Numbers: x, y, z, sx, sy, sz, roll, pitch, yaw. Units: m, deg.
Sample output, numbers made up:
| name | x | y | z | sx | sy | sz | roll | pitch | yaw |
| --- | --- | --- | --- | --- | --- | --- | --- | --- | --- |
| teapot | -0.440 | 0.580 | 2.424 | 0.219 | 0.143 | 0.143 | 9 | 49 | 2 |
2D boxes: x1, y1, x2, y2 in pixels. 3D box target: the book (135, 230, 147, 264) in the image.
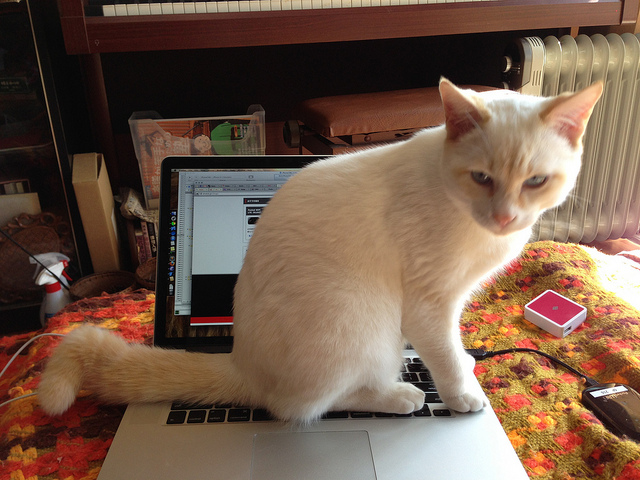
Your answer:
| name | x | y | z | sx | sy | sz | roll | pitch | yaw |
| --- | --- | --- | --- | --- | --- | --- | --- | --- | --- |
| book | -0.717 | 0.028 | 1.910 | 0.023 | 0.099 | 0.097 | -6 | -6 | -1 |

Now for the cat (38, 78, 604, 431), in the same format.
| name | x | y | z | sx | sy | sz | roll | pitch | yaw |
| --- | --- | --- | --- | --- | --- | --- | --- | --- | --- |
| cat | -0.007 | 0.011 | 0.921 | 0.966 | 0.617 | 0.342 | -1 | 30 | -5 |

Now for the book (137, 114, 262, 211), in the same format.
| name | x | y | z | sx | sy | sz | roll | pitch | yaw |
| --- | --- | --- | --- | --- | --- | --- | --- | --- | --- |
| book | -0.470 | -0.273 | 1.927 | 0.509 | 0.280 | 0.367 | -5 | 69 | -19 |

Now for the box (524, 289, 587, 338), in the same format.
| name | x | y | z | sx | sy | sz | roll | pitch | yaw |
| --- | --- | --- | --- | --- | --- | --- | --- | --- | --- |
| box | 0.590 | 0.178 | 1.197 | 0.114 | 0.045 | 0.115 | -31 | 42 | -28 |

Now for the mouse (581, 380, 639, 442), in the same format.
| name | x | y | z | sx | sy | sz | roll | pitch | yaw |
| --- | --- | --- | --- | --- | --- | --- | --- | --- | --- |
| mouse | 0.610 | 0.354 | 1.003 | 0.061 | 0.028 | 0.113 | -18 | 33 | -8 |
